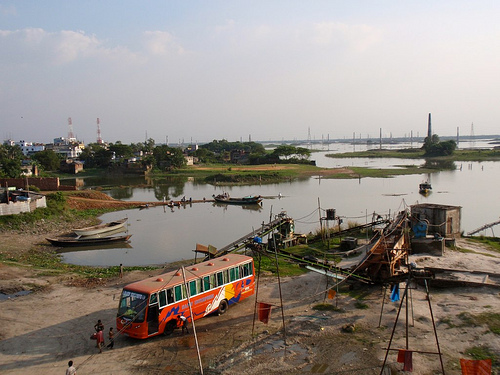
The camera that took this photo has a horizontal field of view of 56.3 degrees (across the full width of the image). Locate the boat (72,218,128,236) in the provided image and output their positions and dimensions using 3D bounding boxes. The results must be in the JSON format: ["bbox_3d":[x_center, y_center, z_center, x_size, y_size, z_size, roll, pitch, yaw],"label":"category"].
[{"bbox_3d":[-16.078,4.367,50.420,1.517,0.965,6.738,8,6,25],"label":"boat"}]

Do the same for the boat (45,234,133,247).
[{"bbox_3d":[-15.807,5.334,45.846,7.284,0.994,3.215,-8,4,-30],"label":"boat"}]

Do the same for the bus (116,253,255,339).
[{"bbox_3d":[-3.241,6.141,27.304,2.513,3.002,8.851,4,7,42],"label":"bus"}]
